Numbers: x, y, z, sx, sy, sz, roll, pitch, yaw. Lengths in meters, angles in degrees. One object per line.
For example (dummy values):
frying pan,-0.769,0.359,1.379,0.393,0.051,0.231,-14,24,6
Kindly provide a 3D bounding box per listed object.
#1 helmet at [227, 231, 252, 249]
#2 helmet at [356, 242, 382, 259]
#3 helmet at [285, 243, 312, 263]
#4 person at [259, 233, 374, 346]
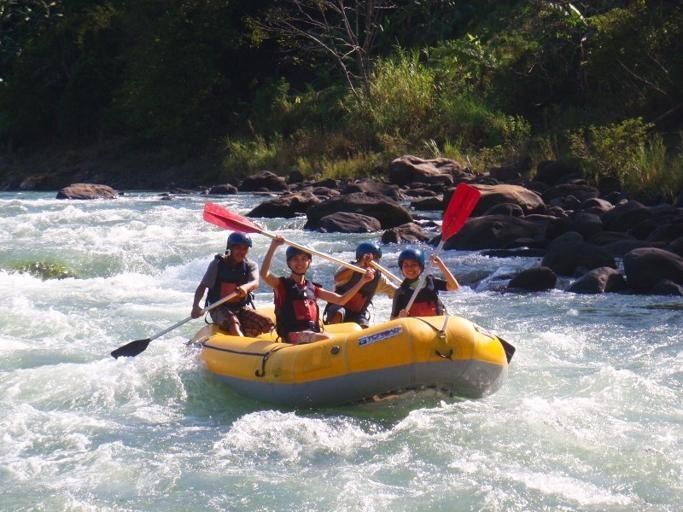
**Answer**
helmet,-1.248,-0.210,10.318,0.189,0.234,0.181,0,12,-7
helmet,0.335,-0.061,10.456,0.284,0.198,0.191,-4,2,-4
helmet,-0.488,-0.026,9.665,0.276,0.202,0.305,6,8,-5
person,-0.332,0.460,10.683,0.891,1.456,1.066,-28,-25,31
